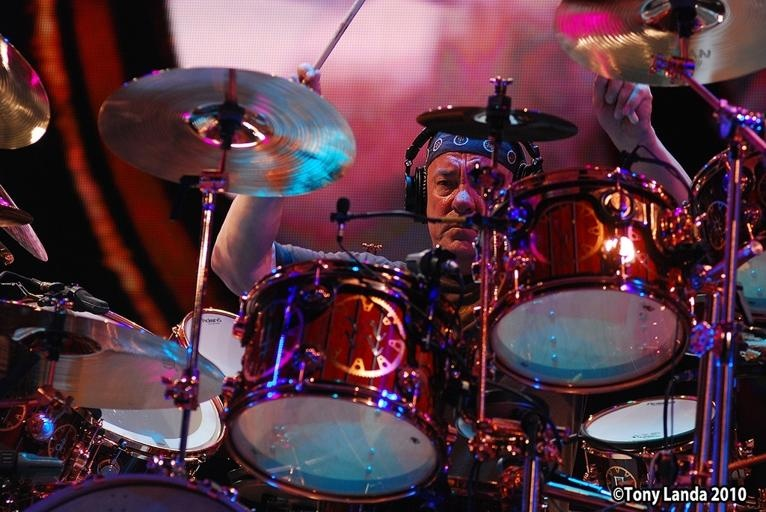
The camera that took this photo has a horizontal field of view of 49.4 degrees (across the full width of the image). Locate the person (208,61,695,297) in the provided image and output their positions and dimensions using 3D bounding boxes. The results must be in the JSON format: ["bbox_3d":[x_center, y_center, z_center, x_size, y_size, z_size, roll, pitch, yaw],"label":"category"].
[{"bbox_3d":[0.019,-0.221,3.722,1.290,0.671,1.305,1,-49,13],"label":"person"}]

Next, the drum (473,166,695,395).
[{"bbox_3d":[0.673,0.099,2.732,0.670,0.512,0.719,5,-40,5],"label":"drum"}]

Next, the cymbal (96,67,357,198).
[{"bbox_3d":[-0.512,-0.420,2.784,0.557,0.131,0.558,3,-41,-3],"label":"cymbal"}]

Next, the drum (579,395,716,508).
[{"bbox_3d":[0.943,0.736,3.058,0.419,0.394,0.419,-5,-34,12],"label":"drum"}]

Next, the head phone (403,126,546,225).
[{"bbox_3d":[0.349,-0.305,3.193,0.476,0.391,0.169,5,-37,7],"label":"head phone"}]
